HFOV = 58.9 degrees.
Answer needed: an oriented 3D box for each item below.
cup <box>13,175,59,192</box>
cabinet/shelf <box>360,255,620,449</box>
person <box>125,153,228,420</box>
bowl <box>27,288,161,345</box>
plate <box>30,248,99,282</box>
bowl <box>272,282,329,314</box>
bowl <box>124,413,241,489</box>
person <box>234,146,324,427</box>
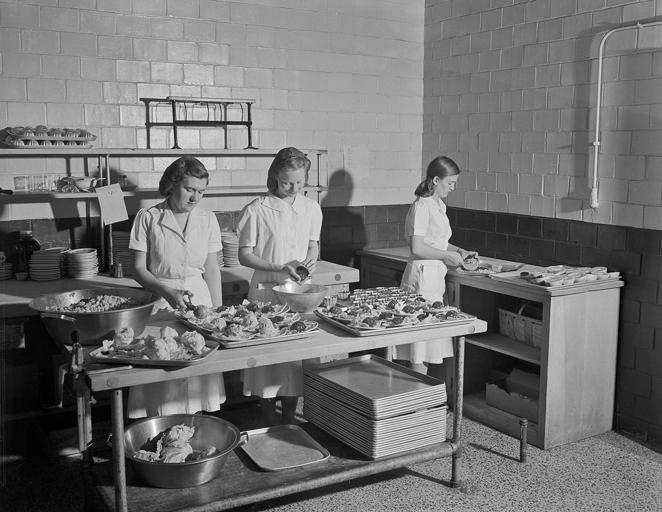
[{"bbox_3d":[-2.399,-0.597,4.804,0.342,0.118,0.133,-6,14,-27],"label":"cup"},{"bbox_3d":[1.682,0.751,4.825,0.810,1.266,1.080,-9,16,-34],"label":"cabinet/shelf"},{"bbox_3d":[-0.986,0.178,3.725,0.580,1.568,0.891,-2,13,-10],"label":"person"},{"bbox_3d":[-1.284,0.333,3.209,0.627,0.212,0.524,4,13,18],"label":"bowl"},{"bbox_3d":[-2.165,0.074,4.783,0.341,0.146,0.322,1,6,10],"label":"plate"},{"bbox_3d":[-0.190,0.264,3.673,0.308,0.149,0.269,-6,14,-27],"label":"bowl"},{"bbox_3d":[-0.819,1.076,3.260,0.641,0.240,0.434,-2,13,-10],"label":"bowl"},{"bbox_3d":[-0.365,0.207,4.151,0.608,1.905,1.019,0,13,-2],"label":"person"}]
